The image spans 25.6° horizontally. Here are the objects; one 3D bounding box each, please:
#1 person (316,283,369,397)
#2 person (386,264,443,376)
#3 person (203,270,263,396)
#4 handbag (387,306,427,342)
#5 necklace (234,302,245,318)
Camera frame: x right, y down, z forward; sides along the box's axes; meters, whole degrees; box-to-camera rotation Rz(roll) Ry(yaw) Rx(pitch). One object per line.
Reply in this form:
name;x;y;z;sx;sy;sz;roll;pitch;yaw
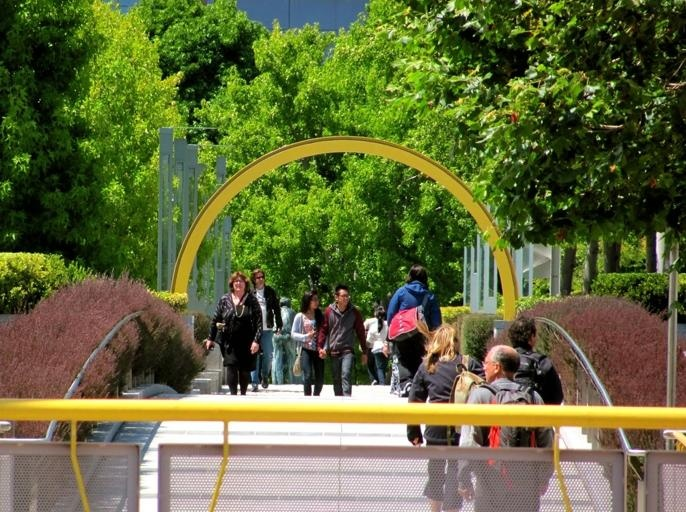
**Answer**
person;-0.005;1.151;20.616;0.666;1.555;0.716;-1;-6;-1
person;0.934;1.019;19.408;0.629;1.799;0.661;4;-19;2
person;-1.420;1.016;19.905;0.699;1.606;0.415;-1;-6;0
handbag;0.791;0.866;19.062;0.411;0.446;0.140;-23;-46;34
necklace;-1.343;0.707;19.821;0.092;0.172;0.040;0;-12;2
